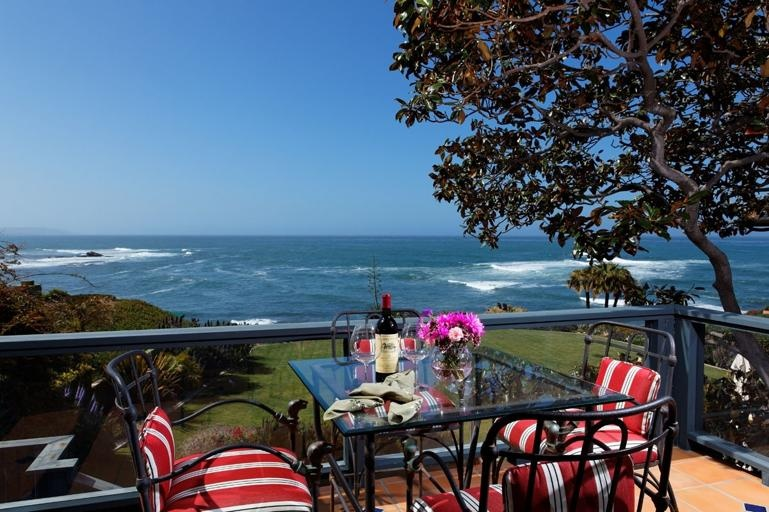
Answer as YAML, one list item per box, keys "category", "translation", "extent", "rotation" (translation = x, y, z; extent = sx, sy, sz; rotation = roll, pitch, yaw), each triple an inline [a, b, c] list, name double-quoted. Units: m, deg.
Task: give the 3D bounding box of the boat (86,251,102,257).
- category: "boat"
  translation: [-34.613, -0.116, 58.881]
  extent: [1.357, 0.566, 1.762]
  rotation: [1, 0, 21]
